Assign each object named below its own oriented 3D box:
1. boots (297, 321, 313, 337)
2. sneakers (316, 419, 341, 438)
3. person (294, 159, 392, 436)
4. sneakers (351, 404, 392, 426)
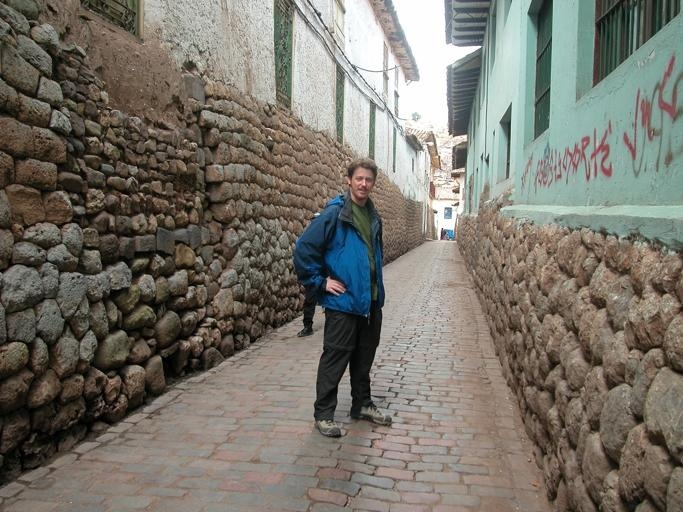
[{"bbox_3d":[-0.526,1.150,6.736,0.112,0.161,0.342,-1,-8,21],"label":"boots"},{"bbox_3d":[-0.102,1.423,3.689,0.220,0.134,0.216,0,6,-5],"label":"sneakers"},{"bbox_3d":[0.042,0.337,3.739,0.822,2.301,0.413,-3,6,-30],"label":"person"},{"bbox_3d":[0.290,1.400,3.977,0.382,0.213,0.154,3,-4,13],"label":"sneakers"}]
